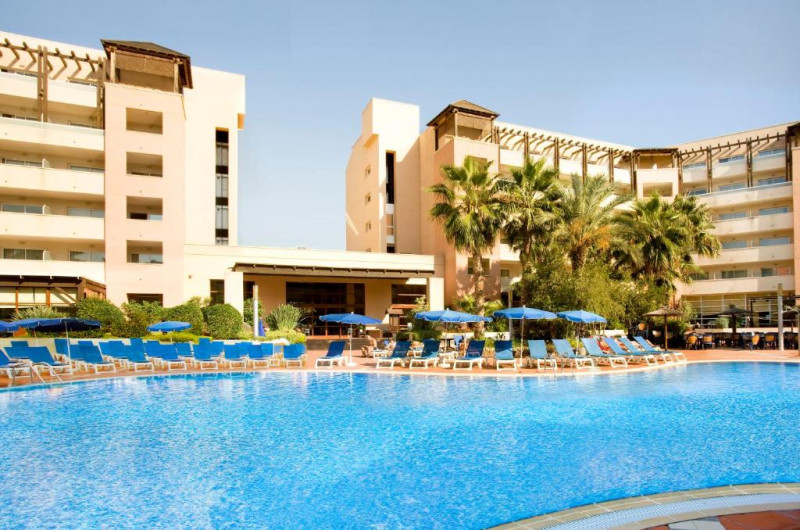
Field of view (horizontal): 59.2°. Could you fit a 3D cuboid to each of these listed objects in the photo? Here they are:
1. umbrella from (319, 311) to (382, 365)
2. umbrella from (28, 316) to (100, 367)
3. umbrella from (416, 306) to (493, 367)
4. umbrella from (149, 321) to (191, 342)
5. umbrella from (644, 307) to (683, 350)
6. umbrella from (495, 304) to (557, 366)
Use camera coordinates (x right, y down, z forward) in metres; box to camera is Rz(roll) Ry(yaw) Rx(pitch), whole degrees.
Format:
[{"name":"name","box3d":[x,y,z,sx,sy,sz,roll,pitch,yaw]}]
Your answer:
[{"name":"umbrella","box3d":[-2.846,4.311,39.679,3.367,2.647,3.238,4,-1,-5]},{"name":"umbrella","box3d":[-17.694,4.075,36.377,2.441,2.763,3.230,2,3,38]},{"name":"umbrella","box3d":[2.971,4.160,39.685,2.951,2.924,3.339,-3,1,-37]},{"name":"umbrella","box3d":[-12.858,3.428,39.094,1.673,0.969,1.626,5,-7,-44]},{"name":"umbrella","box3d":[16.946,4.073,44.489,2.884,2.880,2.754,-2,1,14]},{"name":"umbrella","box3d":[6.916,2.712,38.592,3.102,3.185,2.718,-2,-1,16]}]
